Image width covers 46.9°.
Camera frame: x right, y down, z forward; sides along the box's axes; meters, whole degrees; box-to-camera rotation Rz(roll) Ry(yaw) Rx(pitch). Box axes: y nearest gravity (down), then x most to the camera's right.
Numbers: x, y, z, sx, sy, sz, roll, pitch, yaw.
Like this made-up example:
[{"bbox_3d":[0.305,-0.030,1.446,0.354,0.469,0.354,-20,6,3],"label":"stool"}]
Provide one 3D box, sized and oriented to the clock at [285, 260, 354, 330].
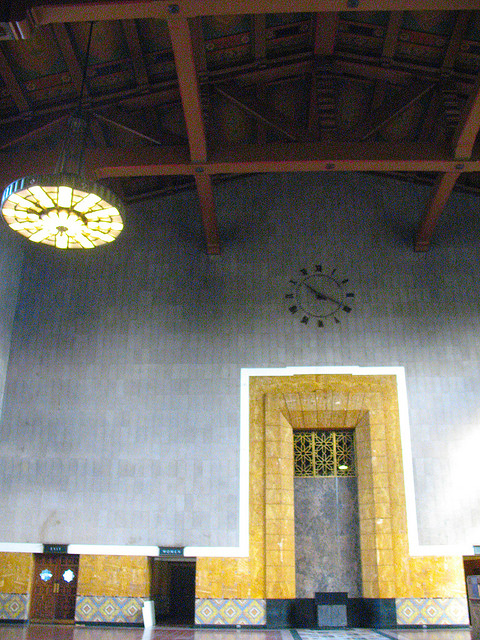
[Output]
[{"bbox_3d":[1.814,-0.492,12.704,1.500,1.574,0.118,1,-22,0],"label":"clock"}]
